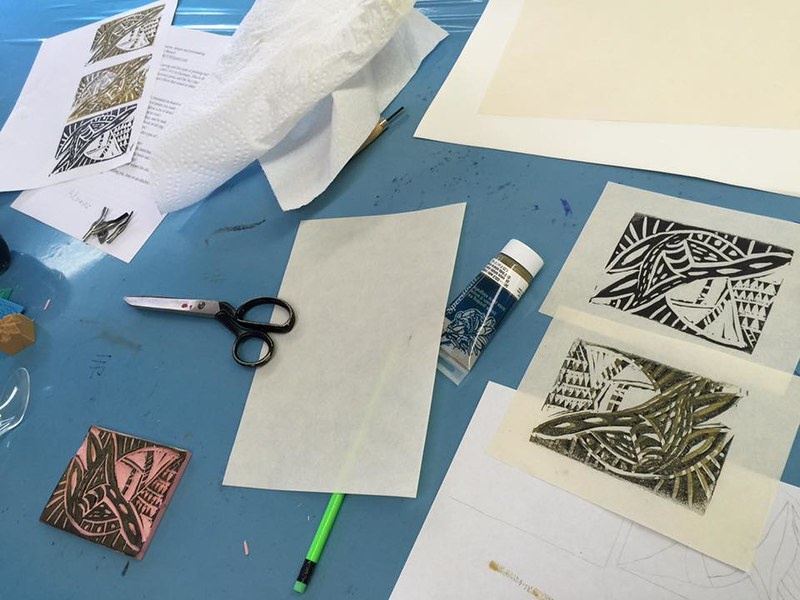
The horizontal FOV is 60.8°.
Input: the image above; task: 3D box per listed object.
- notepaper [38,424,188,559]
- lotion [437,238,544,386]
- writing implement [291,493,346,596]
[{"bbox_3d":[-0.362,0.267,0.885,0.156,0.155,0.041,18,-17,24],"label":"notepaper"},{"bbox_3d":[0.116,0.017,0.889,0.086,0.218,0.056,30,-6,20],"label":"lotion"},{"bbox_3d":[-0.095,0.294,0.805,0.015,0.120,0.017,14,-27,13],"label":"writing implement"}]
